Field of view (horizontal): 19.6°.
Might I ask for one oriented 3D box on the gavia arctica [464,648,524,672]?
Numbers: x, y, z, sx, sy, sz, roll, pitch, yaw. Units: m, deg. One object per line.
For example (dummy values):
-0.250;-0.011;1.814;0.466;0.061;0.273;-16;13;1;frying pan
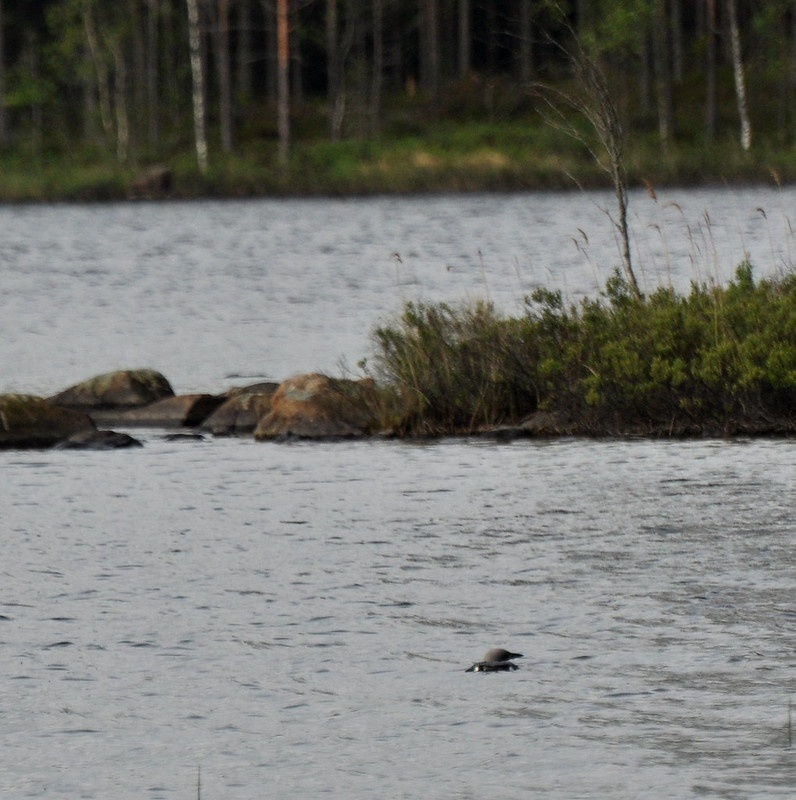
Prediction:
0.723;1.981;17.526;0.462;0.155;0.207;-4;2;-5;gavia arctica
